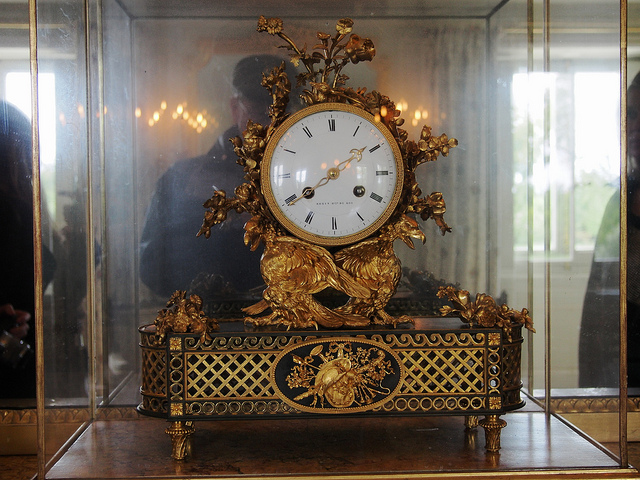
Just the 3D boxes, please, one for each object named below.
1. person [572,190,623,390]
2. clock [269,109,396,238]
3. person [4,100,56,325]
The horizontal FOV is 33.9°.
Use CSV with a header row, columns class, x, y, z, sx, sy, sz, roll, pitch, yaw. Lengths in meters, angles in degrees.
class,x,y,z,sx,sy,sz,roll,pitch,yaw
person,1.217,0.221,4.595,0.082,0.838,0.329,2,-4,-19
clock,0.043,-0.295,4.500,0.547,0.544,0.040,1,-1,-1
person,-1.436,-0.127,4.980,0.160,1.041,0.154,2,-4,-15
